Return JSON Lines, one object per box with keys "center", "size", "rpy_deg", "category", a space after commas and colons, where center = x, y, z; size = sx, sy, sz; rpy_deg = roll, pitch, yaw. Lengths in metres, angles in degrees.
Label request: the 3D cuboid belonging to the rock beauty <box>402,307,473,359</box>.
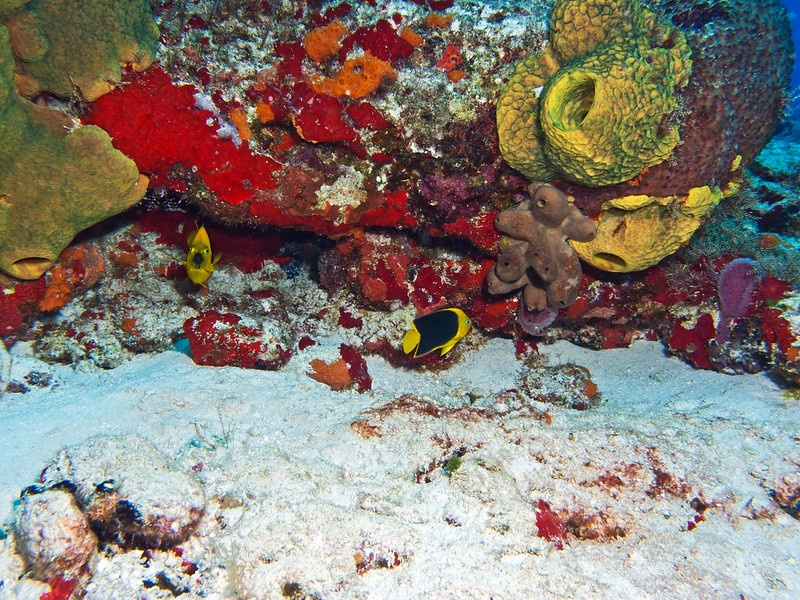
{"center": [0.357, 0.336, 8.238], "size": [0.505, 0.371, 0.273], "rpy_deg": [-25, 7, 2], "category": "rock beauty"}
